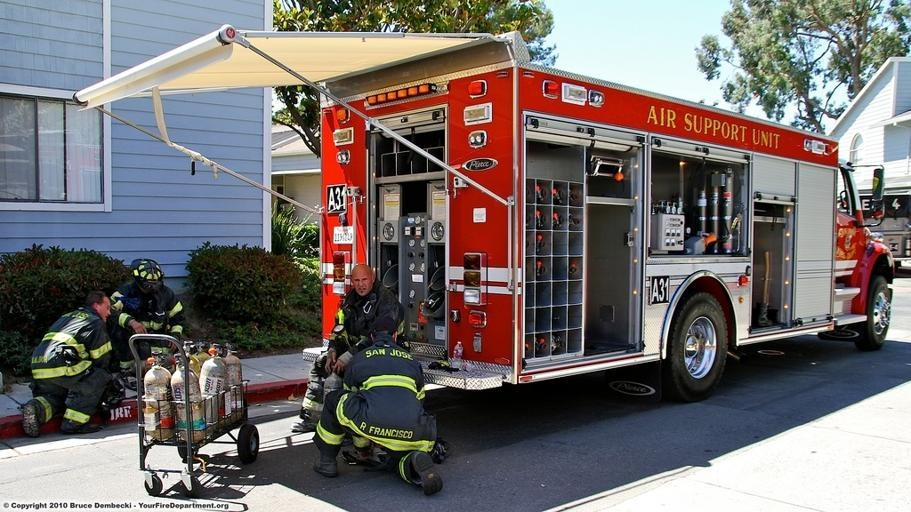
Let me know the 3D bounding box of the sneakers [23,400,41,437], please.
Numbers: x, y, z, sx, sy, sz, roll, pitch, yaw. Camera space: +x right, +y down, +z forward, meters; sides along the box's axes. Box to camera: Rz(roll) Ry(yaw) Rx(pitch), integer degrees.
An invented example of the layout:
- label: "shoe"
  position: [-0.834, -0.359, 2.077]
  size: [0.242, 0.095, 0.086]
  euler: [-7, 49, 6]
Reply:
- label: "sneakers"
  position: [-6.054, 2.362, 10.268]
  size: [0.232, 0.545, 0.262]
  euler: [1, 4, -13]

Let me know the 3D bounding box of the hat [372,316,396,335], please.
- label: "hat"
  position: [-0.965, 0.999, 10.010]
  size: [0.306, 0.221, 0.298]
  euler: [-3, -14, 29]

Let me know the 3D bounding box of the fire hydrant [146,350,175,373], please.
- label: "fire hydrant"
  position: [-3.887, 1.387, 9.224]
  size: [0.406, 0.362, 0.275]
  euler: [-1, 1, 10]

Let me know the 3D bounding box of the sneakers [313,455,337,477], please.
- label: "sneakers"
  position: [-1.708, 2.776, 9.408]
  size: [0.182, 0.226, 0.359]
  euler: [0, 5, -25]

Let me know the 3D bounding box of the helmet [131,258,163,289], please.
- label: "helmet"
  position: [-4.939, 0.277, 11.496]
  size: [0.518, 0.493, 0.445]
  euler: [12, 15, 39]

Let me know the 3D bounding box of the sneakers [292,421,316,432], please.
- label: "sneakers"
  position: [-2.128, 2.428, 10.037]
  size: [0.166, 0.121, 0.300]
  euler: [-5, -17, 22]

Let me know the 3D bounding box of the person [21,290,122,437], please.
- label: "person"
  position: [-5.626, 1.585, 10.448]
  size: [1.180, 2.073, 0.476]
  euler: [0, -3, -25]
